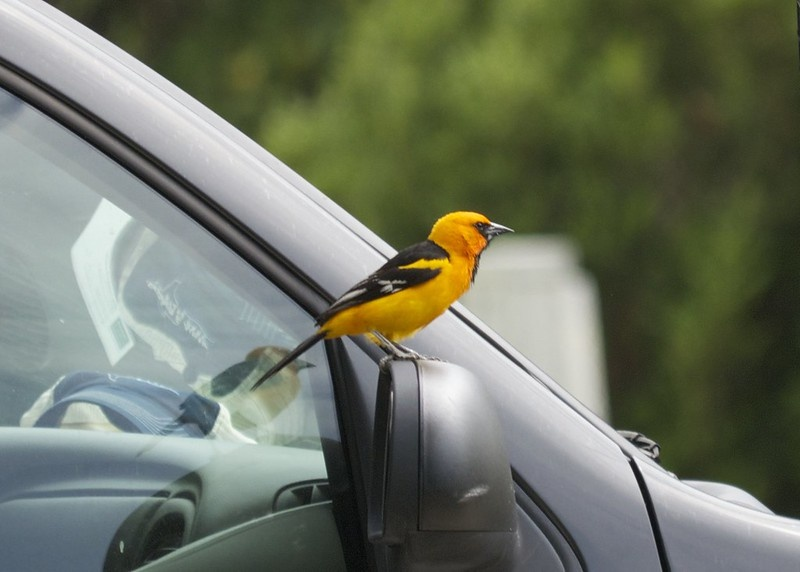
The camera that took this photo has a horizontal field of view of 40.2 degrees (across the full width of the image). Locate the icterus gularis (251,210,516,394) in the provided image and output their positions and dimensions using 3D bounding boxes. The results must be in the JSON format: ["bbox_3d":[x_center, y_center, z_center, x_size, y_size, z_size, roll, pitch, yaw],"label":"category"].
[{"bbox_3d":[-0.033,0.027,3.025,0.722,0.401,0.236,-7,-9,3],"label":"icterus gularis"}]
